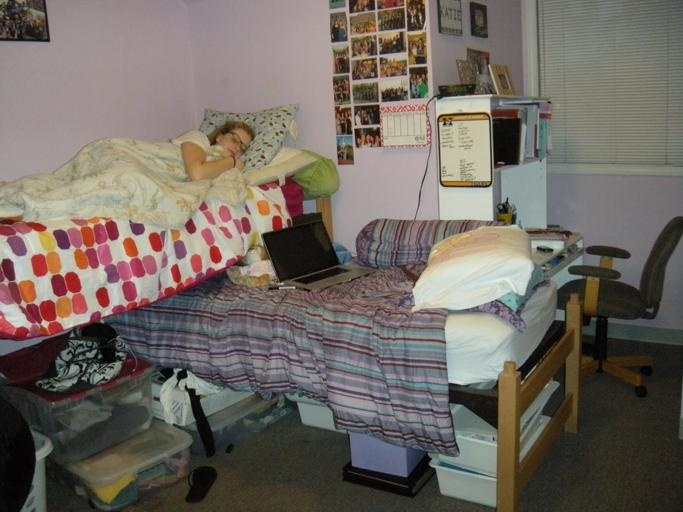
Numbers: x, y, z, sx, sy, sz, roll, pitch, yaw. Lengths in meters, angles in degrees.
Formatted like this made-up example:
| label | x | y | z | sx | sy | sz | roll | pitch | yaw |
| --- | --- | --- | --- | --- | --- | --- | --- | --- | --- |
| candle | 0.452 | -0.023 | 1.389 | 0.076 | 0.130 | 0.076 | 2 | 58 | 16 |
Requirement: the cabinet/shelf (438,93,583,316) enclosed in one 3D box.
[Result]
| label | x | y | z | sx | sy | sz | roll | pitch | yaw |
| --- | --- | --- | --- | --- | --- | --- | --- | --- | --- |
| cabinet/shelf | 1.263 | -0.459 | 4.092 | 0.455 | 1.485 | 1.527 | 7 | 17 | 34 |

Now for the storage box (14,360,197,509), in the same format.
| label | x | y | z | sx | sy | sz | roll | pitch | yaw |
| --- | --- | --- | --- | --- | --- | --- | --- | --- | --- |
| storage box | -1.338 | 0.916 | 2.990 | 0.903 | 0.531 | 0.596 | 5 | 12 | 33 |

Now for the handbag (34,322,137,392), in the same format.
| label | x | y | z | sx | sy | sz | roll | pitch | yaw |
| --- | --- | --- | --- | --- | --- | --- | --- | --- | --- |
| handbag | -1.399 | 0.607 | 2.890 | 0.304 | 0.453 | 0.149 | 33 | 16 | -38 |

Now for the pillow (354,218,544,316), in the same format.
| label | x | y | z | sx | sy | sz | roll | pitch | yaw |
| --- | --- | --- | --- | --- | --- | --- | --- | --- | --- |
| pillow | 0.560 | 0.034 | 2.632 | 0.618 | 0.172 | 0.628 | 3 | 17 | 24 |

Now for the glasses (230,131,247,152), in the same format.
| label | x | y | z | sx | sy | sz | roll | pitch | yaw |
| --- | --- | --- | --- | --- | --- | --- | --- | --- | --- |
| glasses | -0.716 | -0.787 | 3.701 | 0.042 | 0.131 | 0.125 | -24 | -33 | 23 |

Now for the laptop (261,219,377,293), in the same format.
| label | x | y | z | sx | sy | sz | roll | pitch | yaw |
| --- | --- | --- | --- | --- | --- | --- | --- | --- | --- |
| laptop | -0.127 | -0.005 | 3.298 | 0.550 | 0.312 | 0.645 | 5 | 15 | 28 |

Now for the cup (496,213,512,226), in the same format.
| label | x | y | z | sx | sy | sz | roll | pitch | yaw |
| --- | --- | --- | --- | --- | --- | --- | --- | --- | --- |
| cup | 1.089 | -0.241 | 3.542 | 0.106 | 0.106 | 0.108 | 0 | 8 | 0 |

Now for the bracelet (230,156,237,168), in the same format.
| label | x | y | z | sx | sy | sz | roll | pitch | yaw |
| --- | --- | --- | --- | --- | --- | --- | --- | --- | --- |
| bracelet | -0.692 | -0.614 | 3.471 | 0.016 | 0.062 | 0.044 | -5 | 17 | 2 |

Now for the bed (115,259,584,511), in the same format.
| label | x | y | z | sx | sy | sz | roll | pitch | yaw |
| --- | --- | --- | --- | --- | --- | --- | --- | --- | --- |
| bed | 0.009 | 0.500 | 2.861 | 1.935 | 0.604 | 1.090 | 5 | 16 | 24 |
